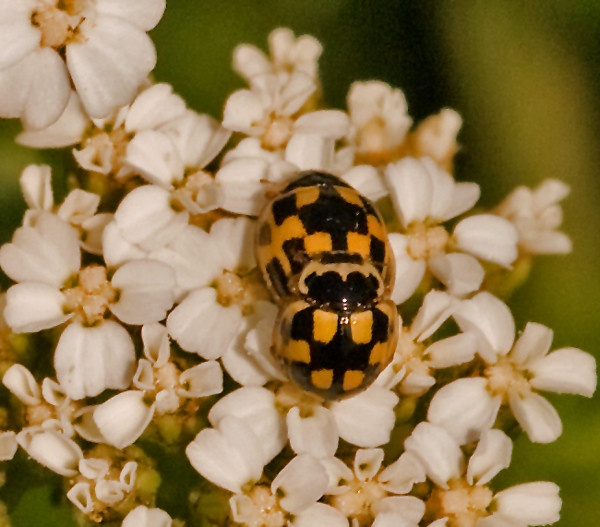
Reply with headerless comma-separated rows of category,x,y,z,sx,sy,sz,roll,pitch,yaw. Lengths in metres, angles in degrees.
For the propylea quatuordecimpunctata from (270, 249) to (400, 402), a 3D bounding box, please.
propylea quatuordecimpunctata,0.054,0.104,1.508,0.193,0.054,0.214,1,81,1
